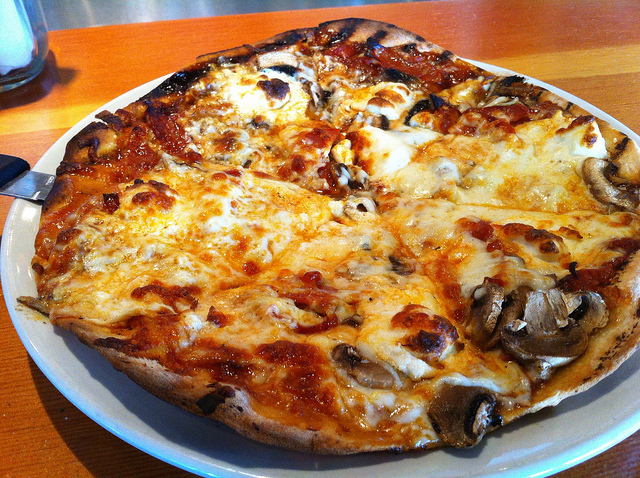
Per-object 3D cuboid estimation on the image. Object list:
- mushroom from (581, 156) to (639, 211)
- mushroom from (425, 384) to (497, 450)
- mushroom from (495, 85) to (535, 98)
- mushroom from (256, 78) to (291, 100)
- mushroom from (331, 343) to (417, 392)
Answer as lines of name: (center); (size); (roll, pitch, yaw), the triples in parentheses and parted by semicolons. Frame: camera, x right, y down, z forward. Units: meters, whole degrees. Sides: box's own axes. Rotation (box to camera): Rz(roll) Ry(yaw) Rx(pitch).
mushroom: (1.133, -0.216, 2.659); (0.223, 0.062, 0.226); (1, 46, -7)
mushroom: (0.436, 0.548, 2.118); (0.186, 0.073, 0.208); (25, 61, 15)
mushroom: (0.898, -0.690, 3.144); (0.133, 0.025, 0.064); (5, 34, 10)
mushroom: (-0.215, -0.702, 3.114); (0.128, 0.035, 0.117); (-31, 62, -35)
mushroom: (0.165, 0.414, 2.172); (0.227, 0.041, 0.144); (26, 24, 13)
